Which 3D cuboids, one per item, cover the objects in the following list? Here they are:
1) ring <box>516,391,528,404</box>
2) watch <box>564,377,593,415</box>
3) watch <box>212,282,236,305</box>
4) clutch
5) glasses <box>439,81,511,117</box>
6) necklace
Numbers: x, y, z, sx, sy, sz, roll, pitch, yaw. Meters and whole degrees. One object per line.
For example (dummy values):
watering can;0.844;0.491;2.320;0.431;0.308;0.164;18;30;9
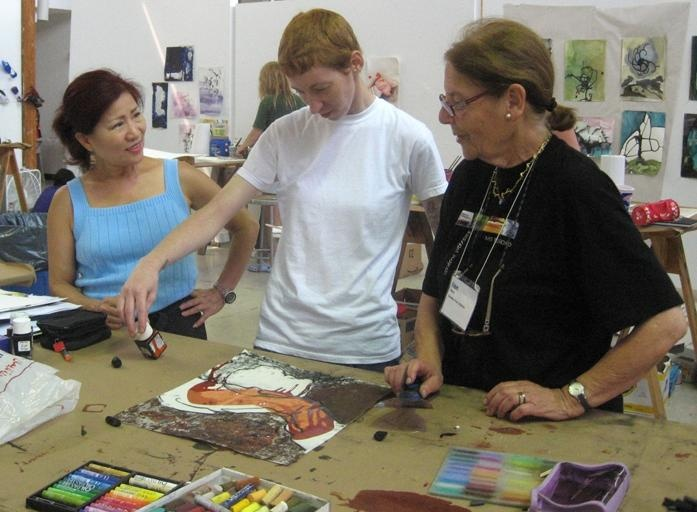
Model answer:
ring;0.475;0.377;1.452;0.021;0.010;0.029;2;37;9
watch;0.631;0.372;1.454;0.056;0.085;0.089;-35;52;-2
watch;-0.536;0.148;2.281;0.048;0.078;0.078;-48;34;-2
clutch;-0.985;0.270;1.938;0.160;0.072;0.161;6;12;25
glasses;0.356;-0.453;1.525;0.111;0.032;0.105;-25;13;-4
necklace;0.546;-0.268;1.676;0.110;0.201;0.122;22;2;-45
